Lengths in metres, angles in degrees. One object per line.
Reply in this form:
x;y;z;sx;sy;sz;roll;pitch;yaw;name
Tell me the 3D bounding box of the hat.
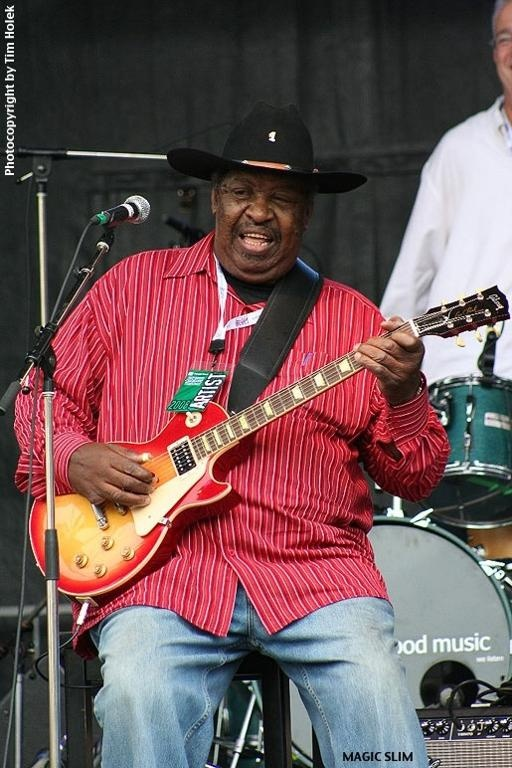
0.071;-0.779;3.574;0.593;0.175;0.441;5;-15;2;hat
